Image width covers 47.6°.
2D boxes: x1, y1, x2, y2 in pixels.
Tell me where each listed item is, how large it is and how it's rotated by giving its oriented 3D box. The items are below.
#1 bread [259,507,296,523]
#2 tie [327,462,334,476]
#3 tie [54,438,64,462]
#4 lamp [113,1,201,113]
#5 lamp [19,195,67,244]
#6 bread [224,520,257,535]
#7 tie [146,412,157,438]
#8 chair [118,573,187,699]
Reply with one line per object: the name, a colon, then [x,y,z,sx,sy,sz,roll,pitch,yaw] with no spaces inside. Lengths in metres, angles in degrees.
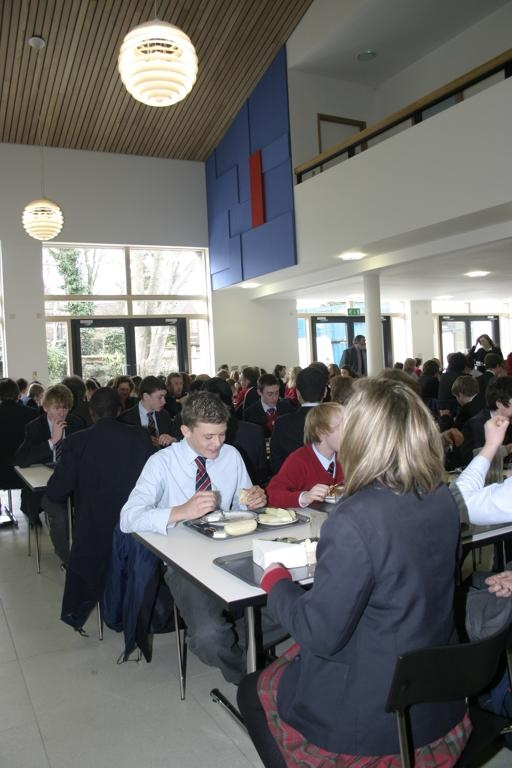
bread: [0.072,0.448,2.006,0.066,0.026,0.066,1,0,-29]
tie: [0.328,0.373,2.543,0.012,0.047,0.050,12,20,0]
tie: [-1.125,0.368,3.273,0.025,0.071,0.235,20,-17,-18]
lamp: [-0.577,-1.852,3.380,0.390,0.472,0.362,-1,1,40]
lamp: [-2.585,-1.978,6.959,0.405,0.480,0.327,-2,1,20]
bread: [-0.053,0.464,1.866,0.100,0.032,0.045,0,-1,-43]
tie: [-0.808,0.311,4.461,0.094,0.170,0.041,-2,-8,-15]
chair: [-0.361,1.054,2.378,0.289,0.432,0.245,7,-10,-35]
